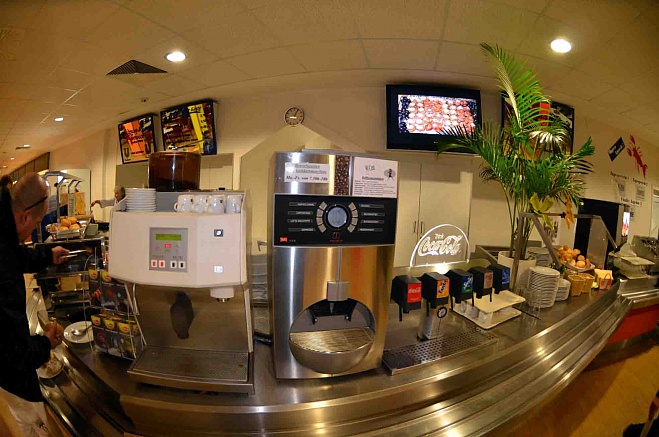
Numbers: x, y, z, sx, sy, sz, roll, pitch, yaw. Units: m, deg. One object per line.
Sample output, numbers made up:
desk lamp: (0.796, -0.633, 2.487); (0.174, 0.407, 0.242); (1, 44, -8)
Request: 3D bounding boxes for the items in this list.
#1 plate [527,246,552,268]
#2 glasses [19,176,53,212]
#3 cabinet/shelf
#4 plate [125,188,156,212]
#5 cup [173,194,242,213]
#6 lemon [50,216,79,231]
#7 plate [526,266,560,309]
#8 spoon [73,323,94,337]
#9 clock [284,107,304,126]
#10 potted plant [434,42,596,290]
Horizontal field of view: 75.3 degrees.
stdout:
plate: (2.005, 0.362, 4.111); (0.172, 0.161, 0.218); (-2, 7, 8)
glasses: (-2.215, -0.209, 3.305); (0.199, 0.237, 0.242); (8, 26, -26)
cabinet/shelf: (0.903, -0.122, 4.362); (1.367, 1.380, 0.521); (1, -2, -15)
plate: (-1.304, -0.131, 2.956); (0.167, 0.143, 0.165); (1, 3, -17)
cup: (-0.830, -0.106, 2.948); (0.315, 0.113, 0.188); (-1, -3, 1)
lemon: (-2.455, 0.053, 3.992); (0.194, 0.076, 0.189); (2, -3, -32)
plate: (1.823, 0.588, 3.814); (0.289, 0.339, 0.341); (2, 8, 3)
spoon: (-1.868, 0.847, 3.254); (0.086, 0.023, 0.139); (9, 28, 13)
clock: (-0.427, -1.224, 5.148); (0.204, 0.207, 0.050); (0, 4, 9)
potted plant: (1.858, -0.223, 4.098); (1.016, 1.946, 1.235); (-21, 26, -30)
